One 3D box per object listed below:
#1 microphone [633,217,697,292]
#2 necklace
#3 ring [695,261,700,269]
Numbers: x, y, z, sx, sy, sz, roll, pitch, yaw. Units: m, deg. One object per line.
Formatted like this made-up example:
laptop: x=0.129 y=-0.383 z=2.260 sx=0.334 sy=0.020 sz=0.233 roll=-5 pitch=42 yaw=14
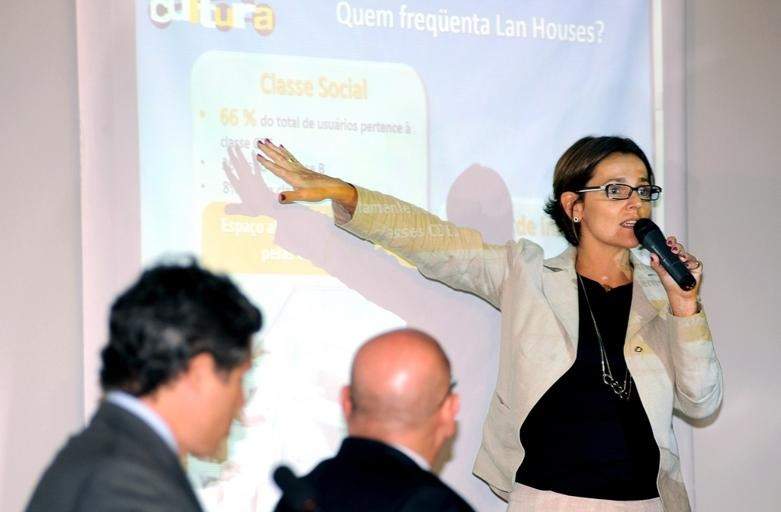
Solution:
microphone: x=1.185 y=-0.010 z=3.366 sx=0.127 sy=0.121 sz=0.416 roll=32 pitch=24 yaw=-44
necklace: x=0.971 y=0.363 z=3.469 sx=0.138 sy=0.534 sz=0.057 roll=-9 pitch=-14 yaw=-26
ring: x=1.338 y=0.038 z=3.325 sx=0.008 sy=0.037 sz=0.024 roll=0 pitch=3 yaw=42
